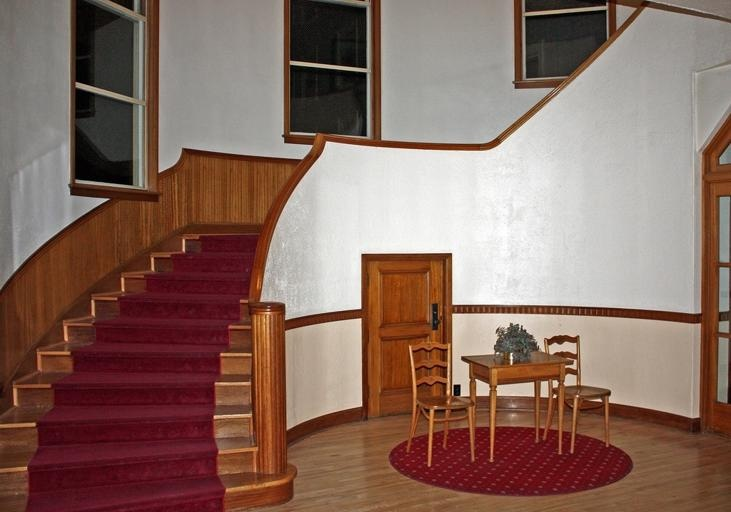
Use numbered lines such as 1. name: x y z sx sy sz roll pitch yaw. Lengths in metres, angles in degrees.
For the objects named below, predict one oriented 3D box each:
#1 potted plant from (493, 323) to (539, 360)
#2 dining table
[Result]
1. potted plant: 1.713 0.980 7.674 0.383 0.240 0.444 0 11 -5
2. dining table: 1.765 1.752 7.676 1.139 1.127 0.792 -1 -1 -19
